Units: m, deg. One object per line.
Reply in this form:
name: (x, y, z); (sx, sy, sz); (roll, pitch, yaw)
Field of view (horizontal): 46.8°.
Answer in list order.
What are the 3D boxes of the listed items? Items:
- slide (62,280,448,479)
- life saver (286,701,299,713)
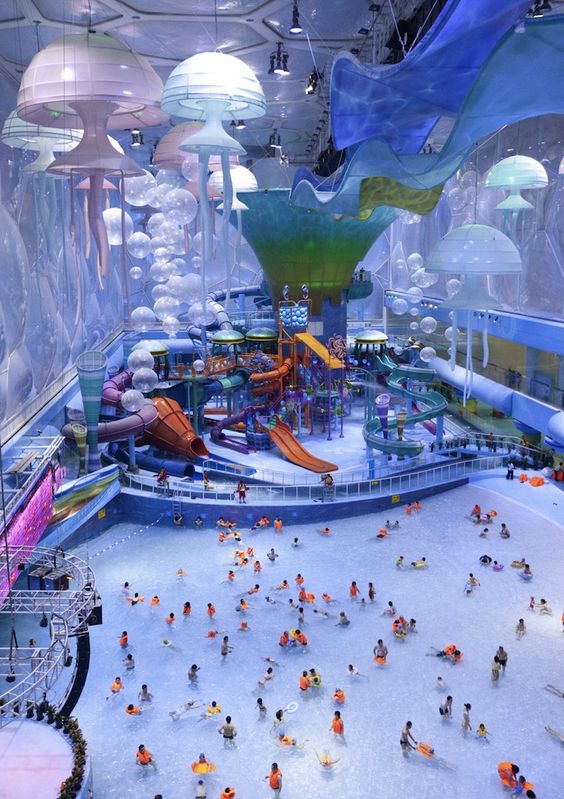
slide: (-0.712, -0.493, 18.744); (7.858, 5.571, 2.575); (5, -65, 2)
life saver: (0.121, 3.804, 8.052); (0.156, 0.190, 0.139); (0, -50, 2)
